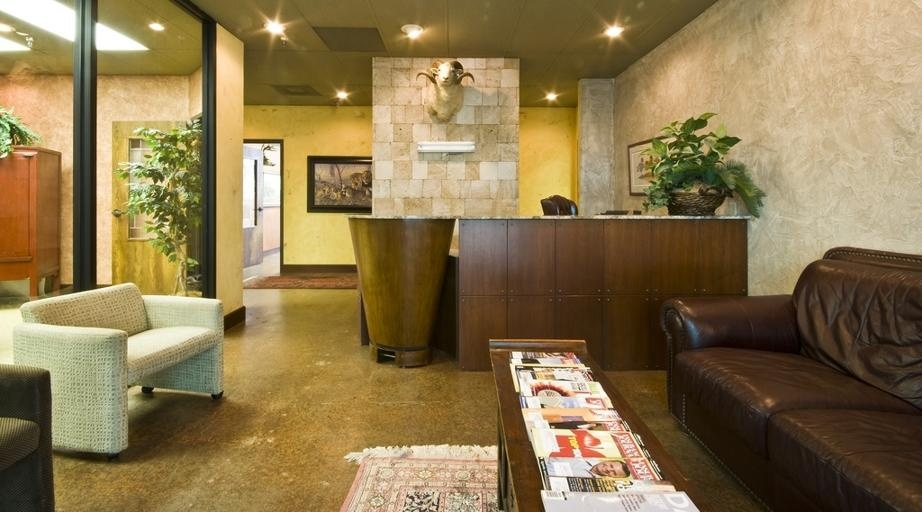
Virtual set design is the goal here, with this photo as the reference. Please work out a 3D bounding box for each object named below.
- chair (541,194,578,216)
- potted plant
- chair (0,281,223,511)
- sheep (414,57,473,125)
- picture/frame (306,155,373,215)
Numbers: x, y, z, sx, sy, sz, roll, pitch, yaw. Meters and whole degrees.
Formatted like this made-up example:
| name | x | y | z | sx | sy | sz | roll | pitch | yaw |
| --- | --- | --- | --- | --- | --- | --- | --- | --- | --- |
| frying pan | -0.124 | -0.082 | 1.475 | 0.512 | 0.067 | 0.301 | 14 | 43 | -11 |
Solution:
| name | x | y | z | sx | sy | sz | roll | pitch | yaw |
| --- | --- | --- | --- | --- | --- | --- | --- | --- | --- |
| chair | 1.063 | -0.546 | 6.248 | 0.272 | 0.195 | 0.404 | 5 | 13 | 37 |
| potted plant | 2.483 | -0.953 | 6.222 | 1.291 | 0.779 | 1.222 | -2 | 4 | -13 |
| chair | -2.888 | 0.932 | 4.948 | 0.832 | 1.253 | 1.250 | 4 | 14 | 33 |
| sheep | -0.193 | -2.234 | 7.595 | 0.835 | 0.715 | 0.839 | 0 | -4 | -2 |
| picture/frame | -2.365 | -1.405 | 11.308 | 0.048 | 1.049 | 1.632 | 10 | 12 | 39 |
